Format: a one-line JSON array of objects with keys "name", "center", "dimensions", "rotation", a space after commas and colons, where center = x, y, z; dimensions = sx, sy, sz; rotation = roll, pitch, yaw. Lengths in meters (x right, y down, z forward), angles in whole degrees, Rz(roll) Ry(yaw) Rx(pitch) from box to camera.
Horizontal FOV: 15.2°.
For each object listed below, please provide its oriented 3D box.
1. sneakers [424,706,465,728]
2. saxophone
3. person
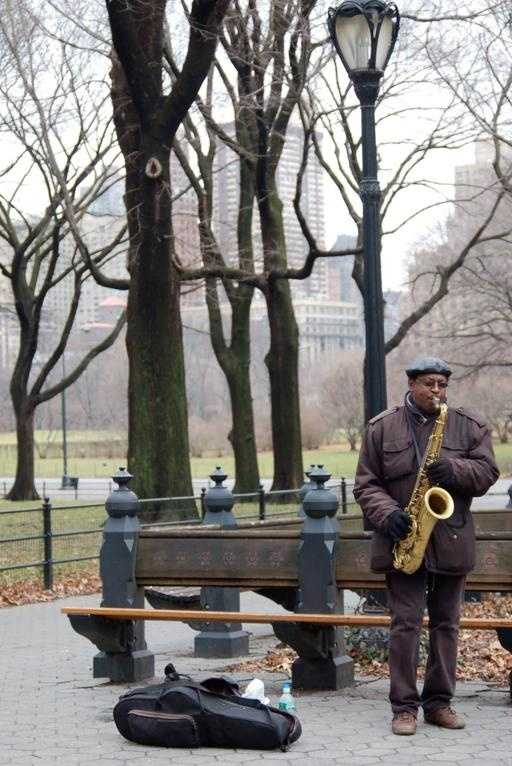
[{"name": "sneakers", "center": [1.396, 2.429, 13.935], "dimensions": [0.310, 0.162, 0.118], "rotation": [-7, -3, 44]}, {"name": "saxophone", "center": [1.224, 0.721, 13.827], "dimensions": [0.428, 1.215, 0.467], "rotation": [0, -5, 9]}, {"name": "person", "center": [1.262, 1.209, 13.900], "dimensions": [0.827, 3.098, 0.894], "rotation": [-1, -5, 10]}]
